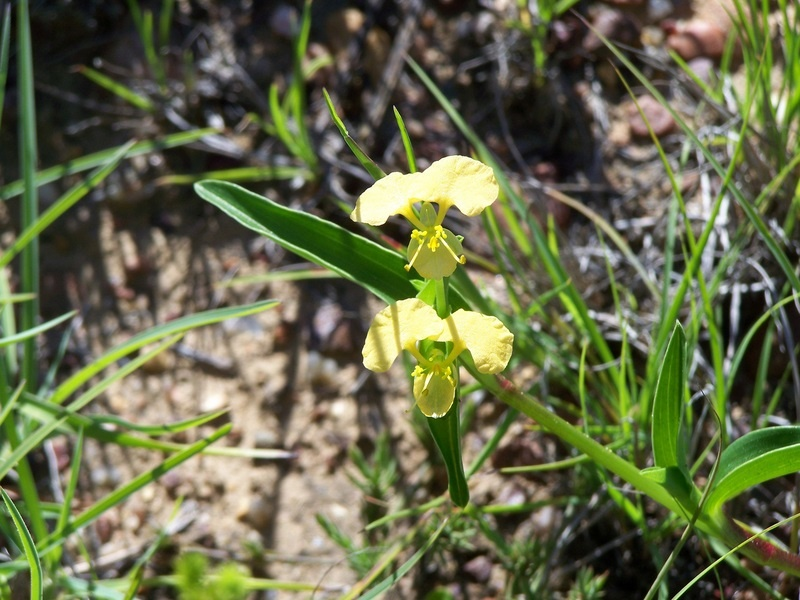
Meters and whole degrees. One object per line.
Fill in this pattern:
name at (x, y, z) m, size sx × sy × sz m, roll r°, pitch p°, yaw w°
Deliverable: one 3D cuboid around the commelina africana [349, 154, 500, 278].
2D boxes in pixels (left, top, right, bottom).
commelina africana at (0.059, -0.153, 1.377) m, size 0.209 × 0.182 × 0.202 m, roll 7°, pitch 44°, yaw 39°
